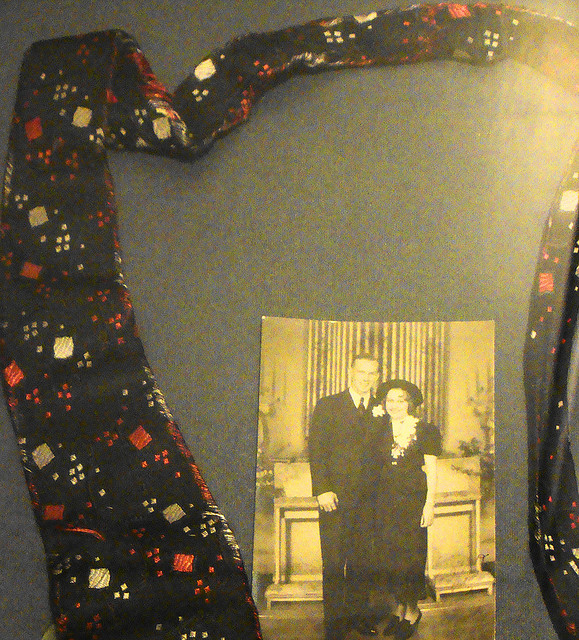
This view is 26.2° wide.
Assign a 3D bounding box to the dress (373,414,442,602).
[{"bbox_3d":[0.253,0.430,2.651,0.144,0.361,0.174,-1,18,7],"label":"dress"}]
